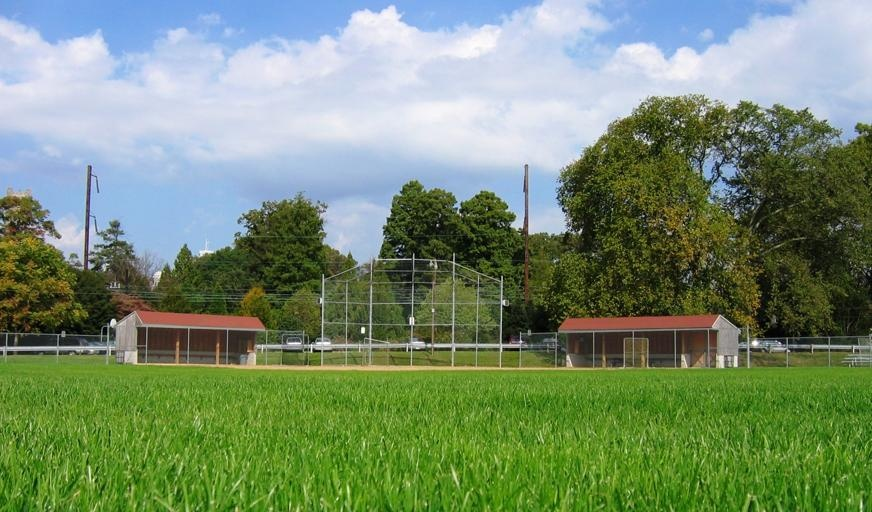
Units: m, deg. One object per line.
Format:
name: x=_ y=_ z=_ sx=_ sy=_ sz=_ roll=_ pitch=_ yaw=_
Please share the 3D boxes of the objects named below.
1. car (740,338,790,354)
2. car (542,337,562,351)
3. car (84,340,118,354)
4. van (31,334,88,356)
car: x=26.020 y=7.271 z=84.841 sx=2.766 sy=0.825 sz=1.674 roll=-1 pitch=-4 yaw=5
car: x=10.041 y=7.597 z=91.201 sx=1.296 sy=1.326 sz=2.308 roll=1 pitch=-9 yaw=-5
car: x=-28.017 y=7.595 z=88.197 sx=2.407 sy=1.093 sz=5.813 roll=3 pitch=-10 yaw=-18
van: x=-29.515 y=7.039 z=83.494 sx=3.096 sy=1.607 sz=6.807 roll=0 pitch=-9 yaw=1
